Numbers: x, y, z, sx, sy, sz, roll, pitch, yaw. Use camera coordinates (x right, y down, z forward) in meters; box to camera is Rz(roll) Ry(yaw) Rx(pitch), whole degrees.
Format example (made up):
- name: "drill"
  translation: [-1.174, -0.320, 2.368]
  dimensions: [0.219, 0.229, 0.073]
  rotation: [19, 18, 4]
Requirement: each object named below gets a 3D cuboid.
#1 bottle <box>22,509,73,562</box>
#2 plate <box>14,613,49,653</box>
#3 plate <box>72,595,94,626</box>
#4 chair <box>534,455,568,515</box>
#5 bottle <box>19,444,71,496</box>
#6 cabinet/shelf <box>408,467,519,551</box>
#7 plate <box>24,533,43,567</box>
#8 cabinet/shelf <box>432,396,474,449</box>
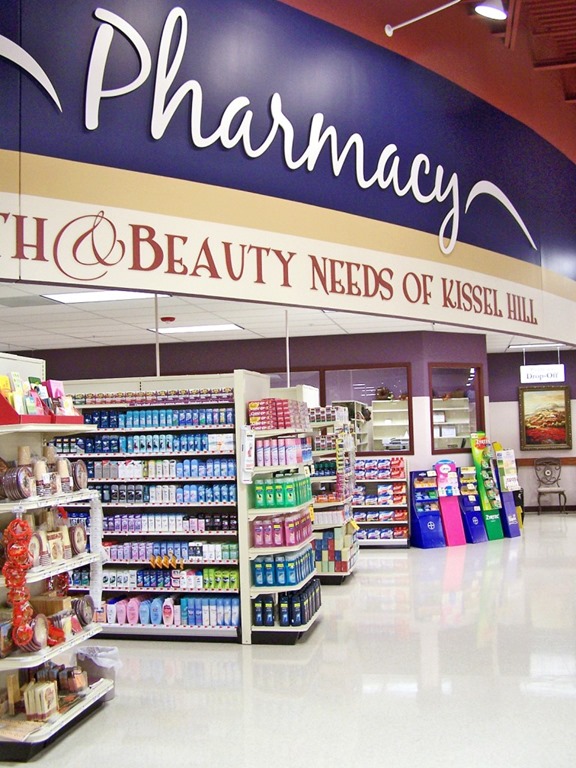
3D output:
- name: "bottle"
  translation: [-1.497, 0.956, 3.723]
  dimensions: [0.237, 0.129, 0.345]
  rotation: [-1, 0, -10]
- name: "plate"
  translation: [-1.450, 1.413, 3.363]
  dimensions: [0.057, 0.183, 0.177]
  rotation: [-8, -14, -13]
- name: "plate"
  translation: [-1.379, 1.538, 3.986]
  dimensions: [0.071, 0.205, 0.234]
  rotation: [-4, -3, 17]
- name: "chair"
  translation: [6.310, 2.467, 14.262]
  dimensions: [0.681, 0.861, 0.993]
  rotation: [-5, -3, 25]
- name: "bottle"
  translation: [-1.520, 0.535, 3.723]
  dimensions: [0.299, 0.404, 0.282]
  rotation: [-2, -4, 0]
- name: "cabinet/shelf"
  translation: [3.118, 2.328, 10.837]
  dimensions: [1.228, 1.286, 0.482]
  rotation: [0, -19, -25]
- name: "plate"
  translation: [-1.478, 0.984, 3.459]
  dimensions: [0.037, 0.133, 0.132]
  rotation: [0, 30, -11]
- name: "cabinet/shelf"
  translation: [3.411, 0.830, 12.329]
  dimensions: [0.973, 1.206, 0.298]
  rotation: [0, -7, -11]
